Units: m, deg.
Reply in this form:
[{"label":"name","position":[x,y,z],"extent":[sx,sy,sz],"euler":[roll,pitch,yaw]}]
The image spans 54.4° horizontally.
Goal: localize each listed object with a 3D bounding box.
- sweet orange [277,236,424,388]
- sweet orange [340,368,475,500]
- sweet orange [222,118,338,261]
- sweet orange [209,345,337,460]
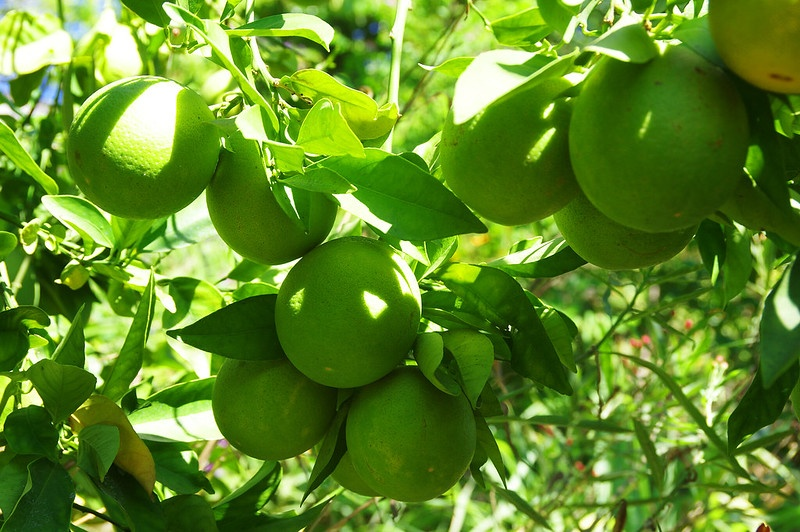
[{"label":"sweet orange","position":[-0.078,0.067,1.185],"extent":[0.223,0.164,0.148],"euler":[-29,36,-9]},{"label":"sweet orange","position":[0.018,0.234,1.252],"extent":[0.191,0.230,0.188],"euler":[-1,13,-1]},{"label":"sweet orange","position":[-0.182,-0.127,1.278],"extent":[0.182,0.219,0.179],"euler":[-1,16,3]},{"label":"sweet orange","position":[-0.204,0.211,1.273],"extent":[0.163,0.202,0.170],"euler":[9,25,24]}]
